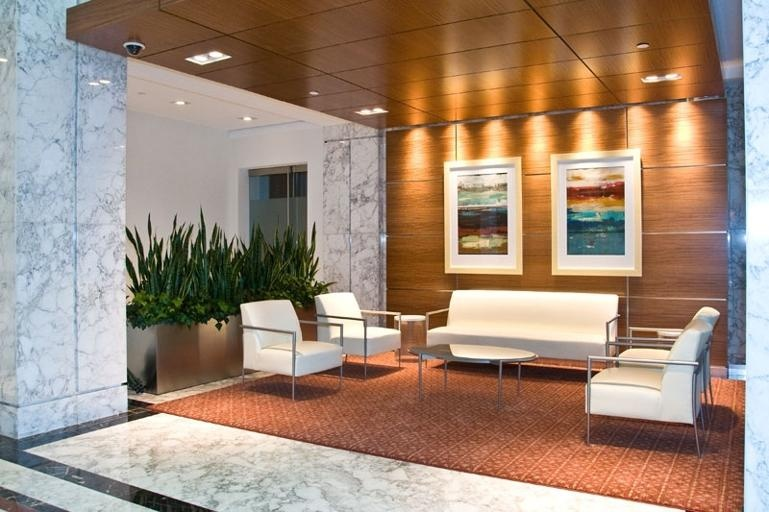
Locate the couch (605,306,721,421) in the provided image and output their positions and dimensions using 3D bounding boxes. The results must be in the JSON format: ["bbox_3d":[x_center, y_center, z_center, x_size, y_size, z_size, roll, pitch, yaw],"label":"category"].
[{"bbox_3d":[2.960,1.124,5.412,1.124,0.833,1.653,-7,1,41],"label":"couch"}]

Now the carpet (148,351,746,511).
[{"bbox_3d":[1.066,1.736,6.354,5.645,0.099,4.590,2,3,32],"label":"carpet"}]

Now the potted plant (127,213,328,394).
[{"bbox_3d":[-2.185,0.723,7.161,0.936,1.665,3.147,2,1,32],"label":"potted plant"}]
